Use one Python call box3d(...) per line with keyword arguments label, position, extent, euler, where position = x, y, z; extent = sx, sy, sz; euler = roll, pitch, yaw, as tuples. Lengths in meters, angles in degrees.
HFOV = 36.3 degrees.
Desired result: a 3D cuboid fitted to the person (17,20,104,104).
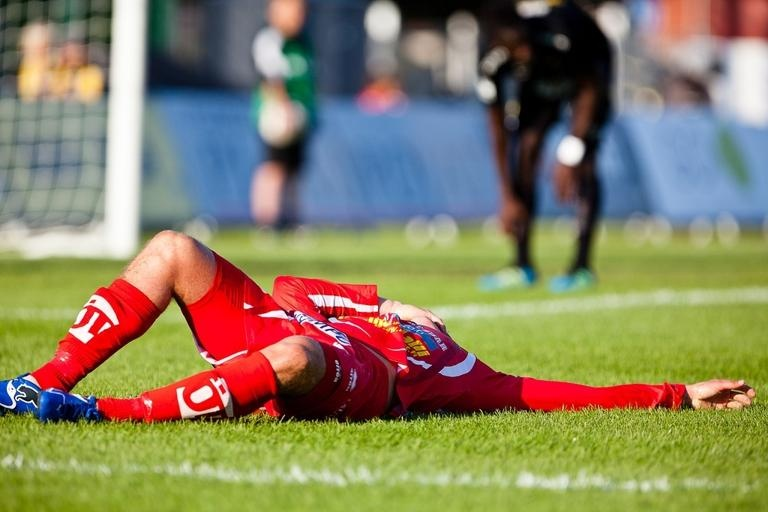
box3d(label="person", position=(-4.009, -2.395, 14.289), extent=(1.000, 0.955, 0.681), euler=(-4, 13, -18))
